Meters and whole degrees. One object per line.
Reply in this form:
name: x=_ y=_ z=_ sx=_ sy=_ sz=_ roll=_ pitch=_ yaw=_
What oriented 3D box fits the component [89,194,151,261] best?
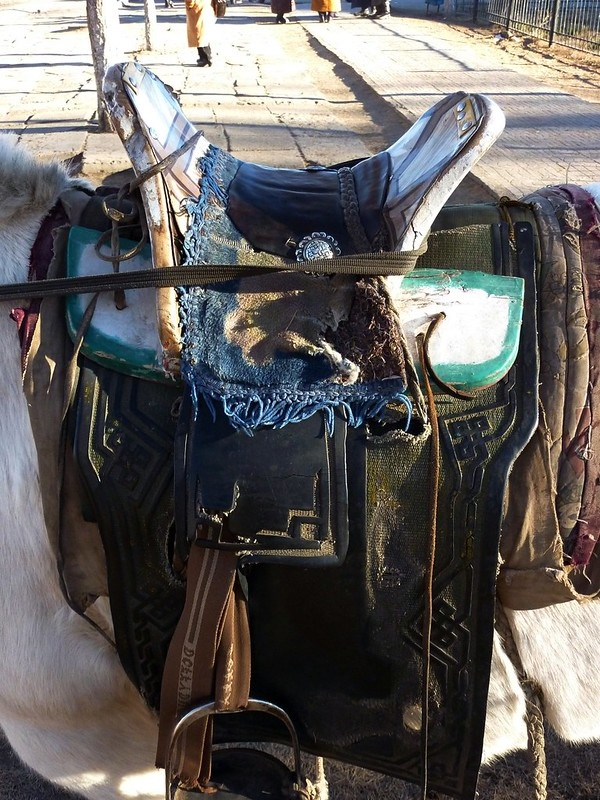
component: x=-0.259 y=-0.273 z=1.418 sx=0.049 sy=0.126 sz=0.104 roll=0 pitch=-13 yaw=-2
